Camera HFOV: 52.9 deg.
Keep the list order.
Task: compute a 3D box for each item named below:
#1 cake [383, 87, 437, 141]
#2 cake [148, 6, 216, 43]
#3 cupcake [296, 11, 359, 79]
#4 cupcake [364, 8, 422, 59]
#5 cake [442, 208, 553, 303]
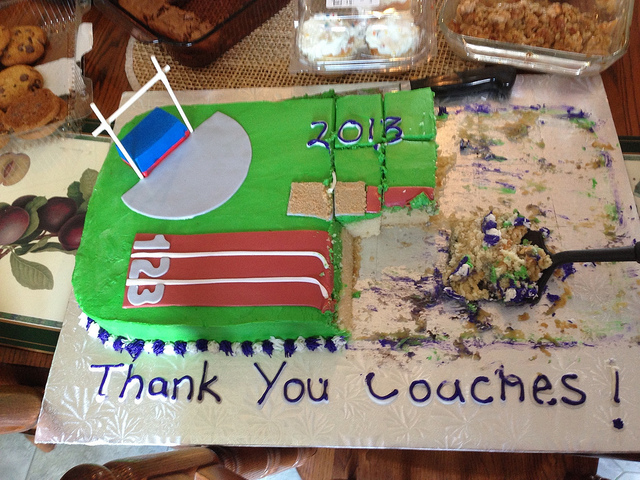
[{"bbox_3d":[0.659,-0.901,4.633,0.365,0.102,0.399,-3,77,6],"label":"cake"},{"bbox_3d":[-1.097,-1.694,5.068,0.447,0.135,0.309,22,80,7],"label":"cake"},{"bbox_3d":[0.067,-1.541,4.930,0.378,0.140,0.382,19,102,2],"label":"cupcake"},{"bbox_3d":[0.554,-1.572,4.895,0.430,0.195,0.322,0,78,3],"label":"cupcake"},{"bbox_3d":[1.226,0.138,4.540,0.629,0.195,0.681,1,74,11],"label":"cake"}]
